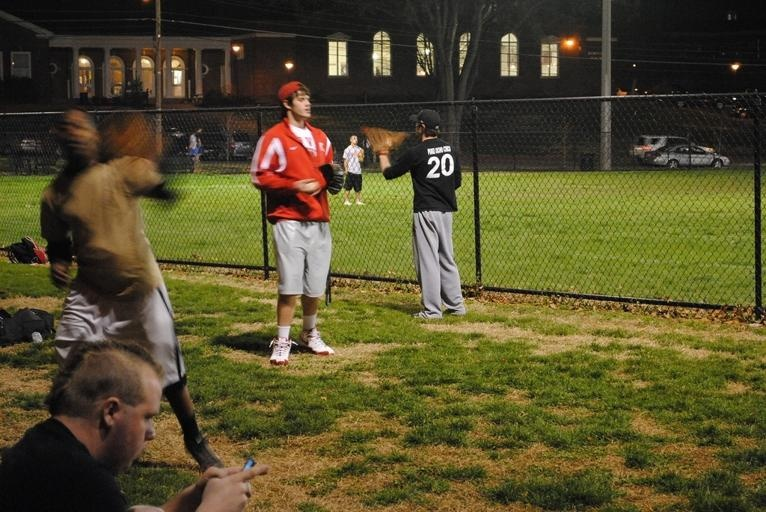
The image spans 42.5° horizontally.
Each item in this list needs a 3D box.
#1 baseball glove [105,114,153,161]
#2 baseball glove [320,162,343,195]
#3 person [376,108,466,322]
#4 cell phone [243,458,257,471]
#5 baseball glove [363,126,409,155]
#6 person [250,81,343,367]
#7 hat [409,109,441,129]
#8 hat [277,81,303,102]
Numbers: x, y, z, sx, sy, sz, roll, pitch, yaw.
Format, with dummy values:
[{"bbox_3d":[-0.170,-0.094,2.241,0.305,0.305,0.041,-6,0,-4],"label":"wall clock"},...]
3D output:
[{"bbox_3d":[-2.456,-1.189,9.621,0.474,0.116,0.489,-1,29,7],"label":"baseball glove"},{"bbox_3d":[-0.621,-1.034,13.064,0.344,0.312,0.303,8,14,17],"label":"baseball glove"},{"bbox_3d":[0.670,-0.621,14.522,1.241,3.034,0.610,1,7,-1],"label":"person"},{"bbox_3d":[-1.172,1.850,8.792,0.078,0.065,0.136,-5,30,9],"label":"cell phone"},{"bbox_3d":[0.073,-1.705,14.530,0.716,0.449,0.234,-9,6,-44],"label":"baseball glove"},{"bbox_3d":[-1.120,-0.416,12.791,1.138,3.615,0.599,-1,7,-14],"label":"person"},{"bbox_3d":[0.645,-2.044,14.581,0.308,0.247,0.423,-23,45,-40],"label":"hat"},{"bbox_3d":[-1.141,-2.069,12.738,0.332,0.185,0.302,-21,20,16],"label":"hat"}]
